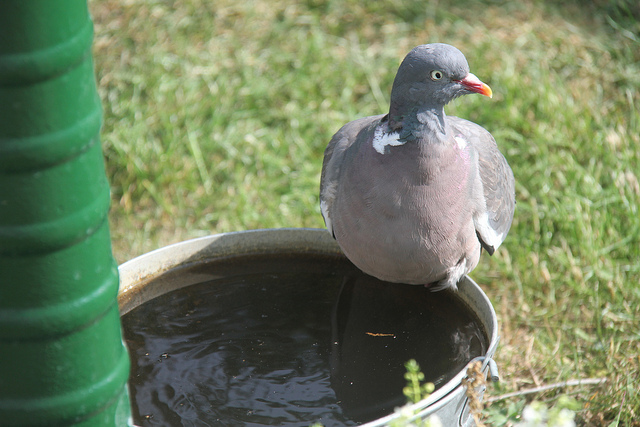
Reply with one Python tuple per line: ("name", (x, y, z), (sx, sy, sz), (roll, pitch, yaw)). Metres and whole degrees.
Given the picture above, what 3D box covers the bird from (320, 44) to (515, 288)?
("bird", (0.556, -0.209, 3.700), (0.969, 1.049, 0.812), (-9, 46, -17))
